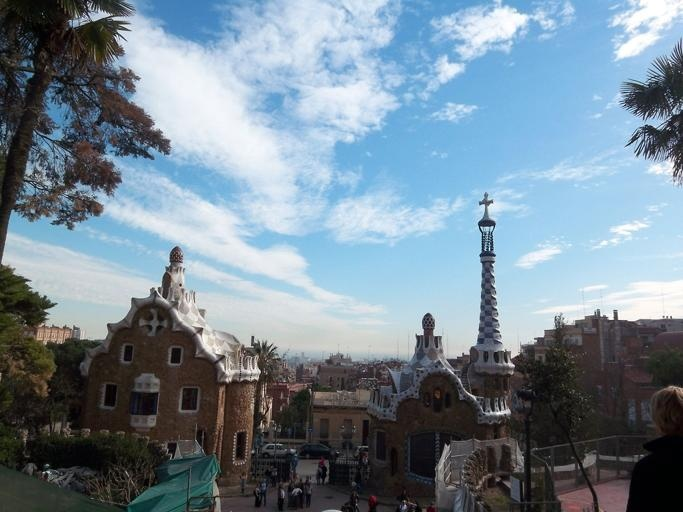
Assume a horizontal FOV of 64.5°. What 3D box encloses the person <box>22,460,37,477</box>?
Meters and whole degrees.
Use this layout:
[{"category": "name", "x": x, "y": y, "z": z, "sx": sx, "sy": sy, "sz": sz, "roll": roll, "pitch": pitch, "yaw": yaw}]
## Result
[{"category": "person", "x": -14.739, "y": 10.040, "z": 25.648, "sx": 0.619, "sy": 0.466, "sz": 1.510, "roll": 11, "pitch": -21, "yaw": -27}]
